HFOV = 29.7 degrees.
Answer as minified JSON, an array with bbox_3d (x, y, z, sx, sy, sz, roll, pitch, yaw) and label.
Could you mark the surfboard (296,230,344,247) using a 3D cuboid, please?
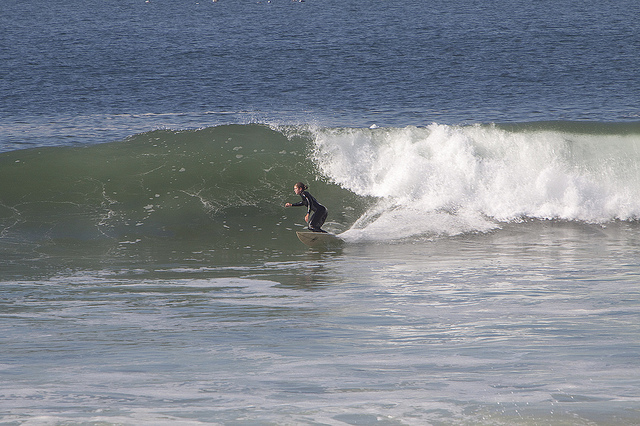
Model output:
[{"bbox_3d":[0.045,0.854,39.137,1.405,0.349,0.517,0,38,-3],"label":"surfboard"}]
